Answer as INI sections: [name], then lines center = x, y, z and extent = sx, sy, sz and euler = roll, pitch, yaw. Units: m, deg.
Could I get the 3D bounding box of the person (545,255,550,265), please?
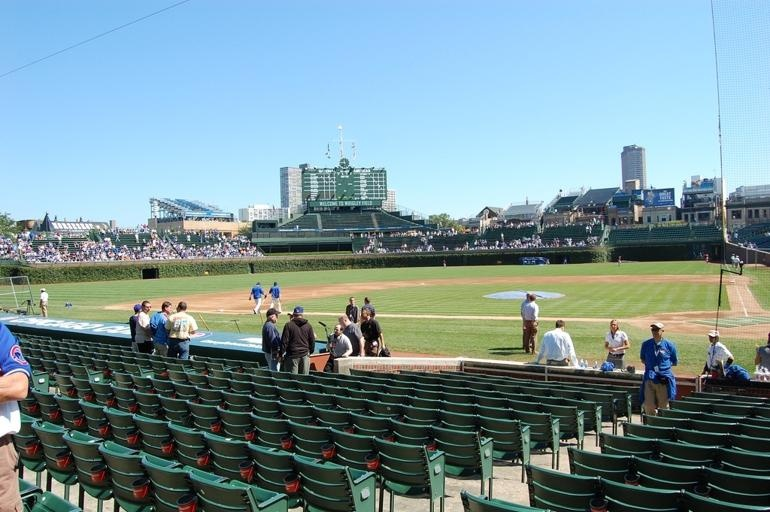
[person]
center = 15.230, 0.418, 78.437
extent = 0.600, 0.701, 0.726
euler = -6, -11, -2

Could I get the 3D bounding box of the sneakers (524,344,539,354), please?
[sneakers]
center = 4.220, 2.718, 24.309
extent = 0.317, 0.255, 0.251
euler = -4, -1, 17

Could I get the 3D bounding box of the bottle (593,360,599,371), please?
[bottle]
center = 5.254, 2.751, 20.937
extent = 0.202, 0.231, 0.618
euler = -5, -7, 13
